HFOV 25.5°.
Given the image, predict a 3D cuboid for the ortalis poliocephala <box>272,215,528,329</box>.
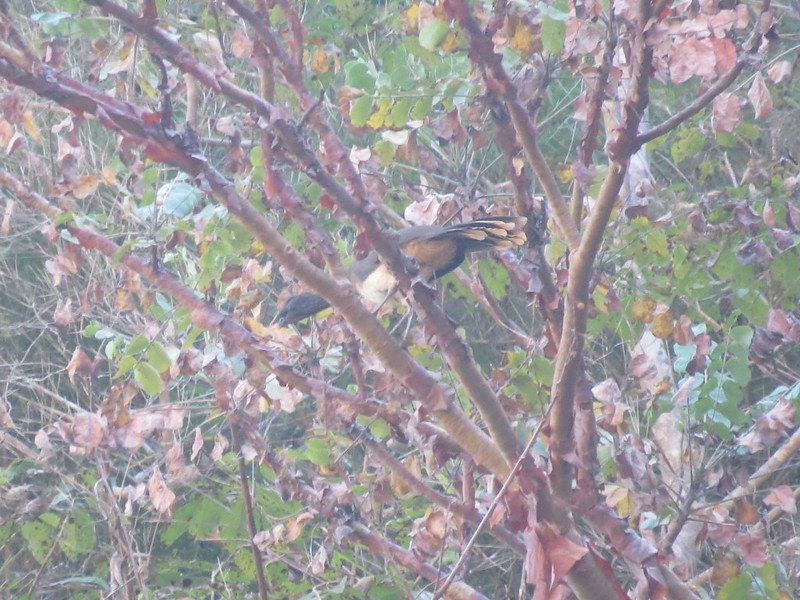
[{"bbox_3d":[0.117,-0.221,9.727,1.128,0.410,0.307,-15,-33,36],"label":"ortalis poliocephala"}]
